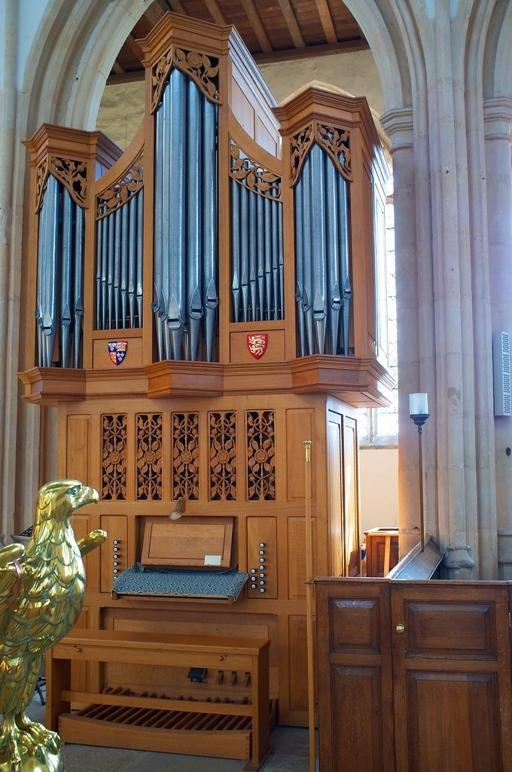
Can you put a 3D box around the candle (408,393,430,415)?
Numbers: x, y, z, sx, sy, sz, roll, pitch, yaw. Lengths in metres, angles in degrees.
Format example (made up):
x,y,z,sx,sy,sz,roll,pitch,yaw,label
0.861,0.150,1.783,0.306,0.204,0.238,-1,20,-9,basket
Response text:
x,y,z,sx,sy,sz,roll,pitch,yaw,label
1.017,0.116,5.004,0.124,0.155,0.129,0,-4,1,candle
